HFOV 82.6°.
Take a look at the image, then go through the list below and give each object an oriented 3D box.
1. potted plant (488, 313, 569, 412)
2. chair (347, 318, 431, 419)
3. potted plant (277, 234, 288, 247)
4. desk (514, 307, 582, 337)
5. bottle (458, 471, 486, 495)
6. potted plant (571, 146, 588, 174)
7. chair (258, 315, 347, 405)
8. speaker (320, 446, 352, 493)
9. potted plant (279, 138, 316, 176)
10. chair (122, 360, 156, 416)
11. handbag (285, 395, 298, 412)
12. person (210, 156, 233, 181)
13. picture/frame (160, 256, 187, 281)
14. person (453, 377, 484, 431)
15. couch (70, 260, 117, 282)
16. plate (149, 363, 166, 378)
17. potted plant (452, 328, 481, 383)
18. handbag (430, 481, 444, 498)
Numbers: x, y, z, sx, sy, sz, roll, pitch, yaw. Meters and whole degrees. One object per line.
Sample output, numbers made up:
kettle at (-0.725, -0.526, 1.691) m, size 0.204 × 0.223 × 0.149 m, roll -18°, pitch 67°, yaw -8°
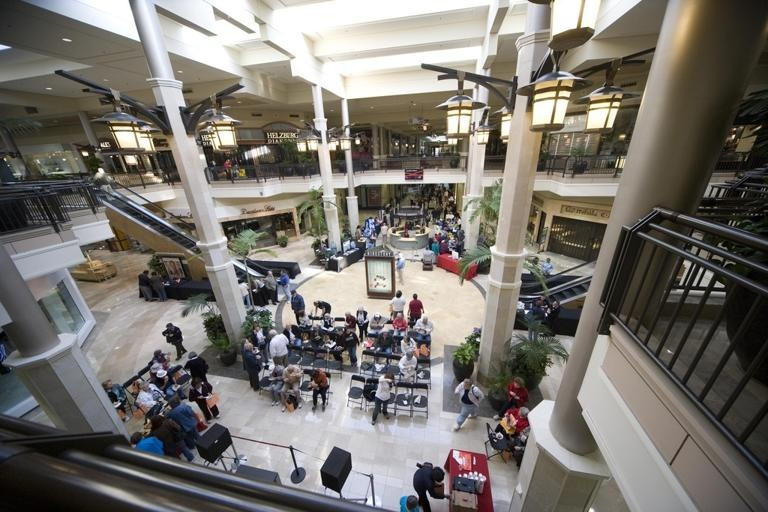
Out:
potted plant at (3.672, 2.813, 11.350) m, size 1.994 × 2.072 × 1.629 m, roll 18°, pitch 23°, yaw 20°
chair at (0.239, 3.058, 12.388) m, size 2.179 × 1.744 × 2.571 m, roll 1°, pitch 18°, yaw 5°
potted plant at (-5.626, -0.803, 24.134) m, size 0.648 × 0.572 × 0.600 m, roll -2°, pitch 6°, yaw -6°
desk at (5.695, 2.151, 14.457) m, size 3.209 × 0.818 × 1.085 m, roll 1°, pitch -14°, yaw 22°
bottle at (1.864, 4.915, 9.593) m, size 0.478 × 0.406 × 0.126 m, roll 4°, pitch 28°, yaw -2°
potted plant at (7.881, -3.633, 17.698) m, size 0.537 × 0.758 × 0.458 m, roll 3°, pitch 20°, yaw 12°
chair at (-2.235, 3.099, 12.484) m, size 2.692 × 1.418 × 1.940 m, roll 1°, pitch 34°, yaw 1°
speaker at (-1.043, 4.892, 9.738) m, size 0.544 × 1.264 × 0.633 m, roll 6°, pitch 21°, yaw 19°
potted plant at (-4.578, -5.348, 23.744) m, size 1.882 × 1.693 × 2.972 m, roll -4°, pitch 18°, yaw -9°
chair at (-6.746, 3.652, 12.029) m, size 0.817 × 0.919 × 0.959 m, roll 25°, pitch 53°, yaw 10°
handbag at (-2.535, 3.937, 11.814) m, size 0.290 × 0.464 × 0.304 m, roll 10°, pitch 28°, yaw 21°
person at (-7.901, -4.085, 21.424) m, size 1.182 × 0.882 × 0.371 m, roll 2°, pitch 21°, yaw 8°
picture/frame at (-8.578, 0.470, 17.917) m, size 1.265 × 1.341 × 0.099 m, roll 2°, pitch 38°, yaw 6°
person at (2.079, 3.691, 11.069) m, size 0.576 × 1.312 × 0.830 m, roll 17°, pitch 27°, yaw 39°
couch at (-12.467, 0.671, 18.713) m, size 0.953 × 0.560 × 0.464 m, roll 9°, pitch 34°, yaw 4°
plate at (-6.190, 3.146, 11.960) m, size 0.424 × 0.149 × 0.317 m, roll 26°, pitch 36°, yaw 18°
potted plant at (2.335, 2.907, 12.438) m, size 0.664 × 1.260 × 0.893 m, roll 3°, pitch 20°, yaw 13°
handbag at (1.191, 5.091, 9.552) m, size 0.390 × 0.329 × 0.096 m, roll 6°, pitch -3°, yaw 38°
